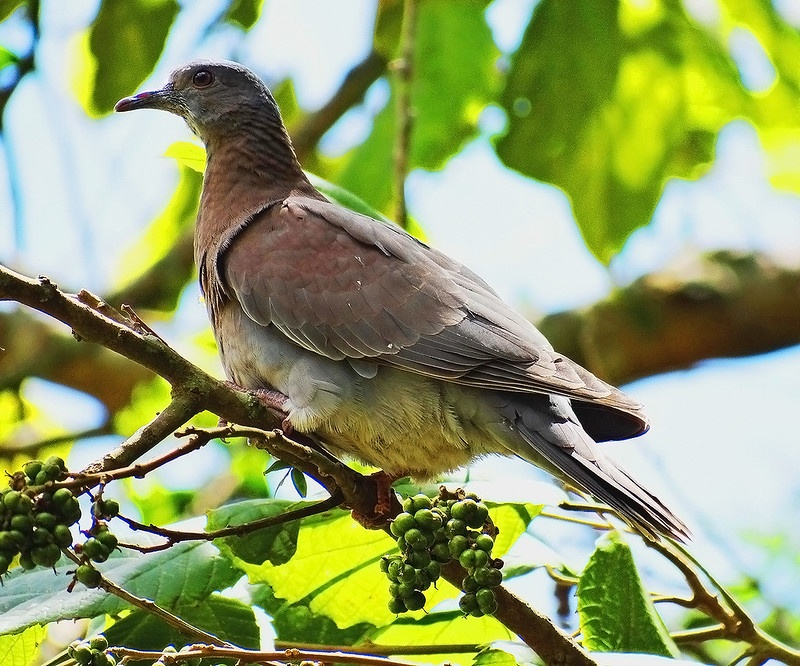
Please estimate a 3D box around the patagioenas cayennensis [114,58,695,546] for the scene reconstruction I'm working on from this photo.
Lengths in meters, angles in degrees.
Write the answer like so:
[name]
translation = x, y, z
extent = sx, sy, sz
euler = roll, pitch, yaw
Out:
[patagioenas cayennensis]
translation = -0.023, -0.168, 6.093
extent = 2.673, 1.917, 0.993
euler = 6, -13, 6
